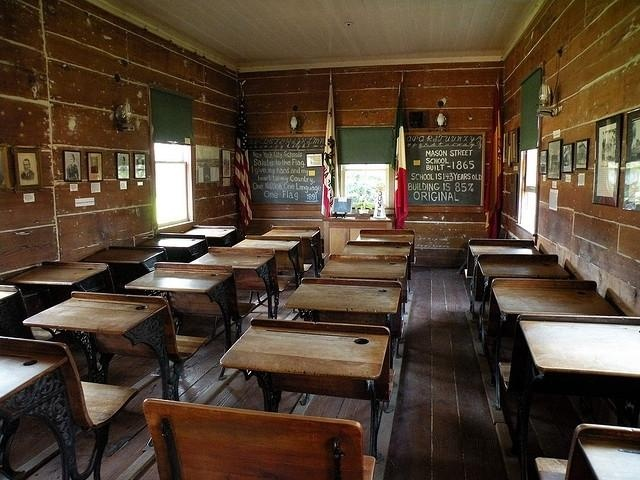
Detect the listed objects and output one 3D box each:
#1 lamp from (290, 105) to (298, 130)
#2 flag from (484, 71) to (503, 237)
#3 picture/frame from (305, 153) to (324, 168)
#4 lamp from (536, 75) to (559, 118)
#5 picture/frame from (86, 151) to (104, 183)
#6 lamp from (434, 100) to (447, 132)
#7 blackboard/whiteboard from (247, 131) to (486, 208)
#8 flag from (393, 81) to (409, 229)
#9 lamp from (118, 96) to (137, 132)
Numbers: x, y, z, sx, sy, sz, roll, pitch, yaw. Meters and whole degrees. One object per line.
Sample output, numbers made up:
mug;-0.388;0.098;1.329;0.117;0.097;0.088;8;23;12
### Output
lamp;-0.432;-2.053;7.267;0.161;0.421;0.160;1;11;3
flag;2.710;-1.284;6.695;0.251;2.480;0.505;3;11;13
picture/frame;-0.076;-1.364;7.358;0.254;0.223;0.030;2;6;7
lamp;2.188;-1.360;4.181;0.168;0.348;0.379;4;11;20
picture/frame;-2.343;-0.767;4.521;0.037;0.373;0.320;4;6;18
lamp;1.914;-1.997;6.846;0.188;0.480;0.164;3;11;15
blackboard/whiteboard;0.767;-1.219;7.238;3.732;1.280;0.305;2;11;7
flag;1.321;-1.367;6.959;0.240;2.341;0.360;2;11;9
lamp;-2.145;-1.420;4.904;0.101;0.323;0.225;-8;-4;17
